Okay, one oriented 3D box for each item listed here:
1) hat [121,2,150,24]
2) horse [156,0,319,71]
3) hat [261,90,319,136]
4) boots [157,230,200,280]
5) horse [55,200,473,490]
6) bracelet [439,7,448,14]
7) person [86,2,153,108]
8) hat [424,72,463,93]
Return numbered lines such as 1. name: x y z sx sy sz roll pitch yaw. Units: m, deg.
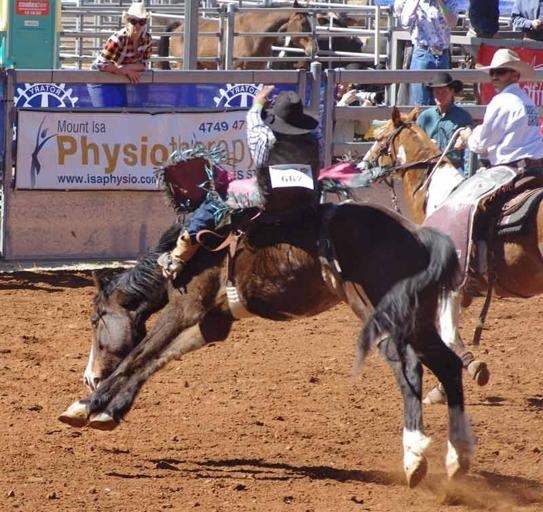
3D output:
1. hat: -1.335 -2.429 9.769 0.325 0.154 0.374 2 2 -8
2. horse: -0.473 -3.094 14.098 2.227 0.950 2.415 0 11 -6
3. hat: 0.120 -0.842 5.919 0.328 0.247 0.211 2 13 0
4. boots: -0.563 -0.002 6.087 0.210 0.337 0.136 45 7 6
5. horse: -0.099 0.460 6.269 3.311 1.512 0.822 -2 -17 39
6. bracelet: 2.021 -2.835 11.552 0.065 0.028 0.073 37 -27 0
7. person: -1.476 -1.958 9.769 0.729 1.011 0.418 -6 16 -31
8. hat: 1.619 -1.582 9.120 0.275 0.097 0.279 0 -10 19
